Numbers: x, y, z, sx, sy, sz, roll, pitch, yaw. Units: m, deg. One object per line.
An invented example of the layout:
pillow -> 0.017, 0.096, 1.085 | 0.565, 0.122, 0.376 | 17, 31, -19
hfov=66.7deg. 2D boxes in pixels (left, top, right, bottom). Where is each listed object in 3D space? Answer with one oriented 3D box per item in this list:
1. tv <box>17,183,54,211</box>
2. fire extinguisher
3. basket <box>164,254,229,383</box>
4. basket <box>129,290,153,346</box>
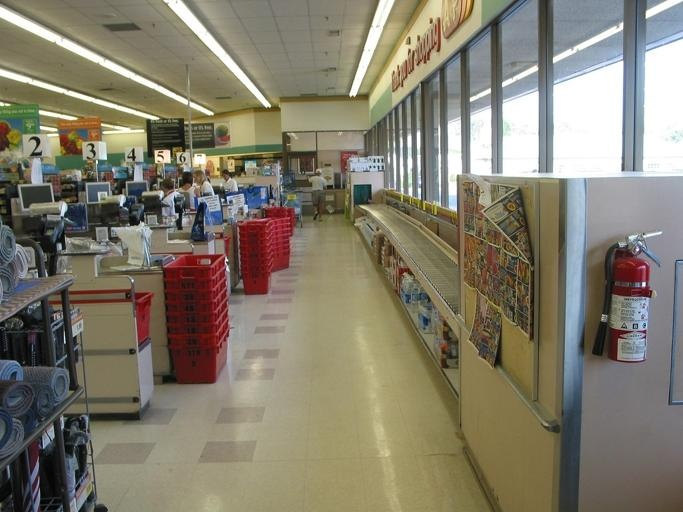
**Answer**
tv -> -4.151, -0.829, 7.068 | 0.359, 0.303, 0.448 | 9, 16, 43
fire extinguisher -> 1.205, 0.204, 2.270 | 0.197, 0.612, 0.236 | 2, 9, 6
basket -> -1.298, 0.543, 4.712 | 0.432, 1.049, 0.583 | -1, 10, 1
basket -> -1.553, 0.480, 4.082 | 0.121, 0.385, 0.388 | -5, 11, -20
